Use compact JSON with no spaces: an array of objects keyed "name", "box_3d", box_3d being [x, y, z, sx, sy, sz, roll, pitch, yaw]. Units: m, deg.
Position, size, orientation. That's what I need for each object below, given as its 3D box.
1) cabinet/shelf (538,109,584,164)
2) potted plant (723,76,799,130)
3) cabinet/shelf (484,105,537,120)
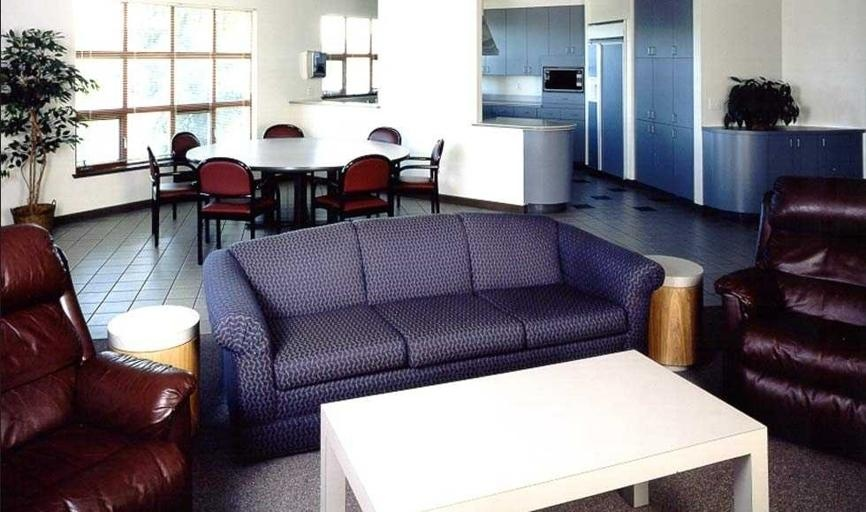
[{"name":"cabinet/shelf","box_3d":[2.842,-2.540,12.332,0.299,1.130,1.133,-11,19,-30]},{"name":"potted plant","box_3d":[4.246,-2.006,7.775,0.857,0.580,0.848,-6,14,-20]},{"name":"cabinet/shelf","box_3d":[1.748,-3.239,13.116,0.312,0.270,1.451,-15,22,-38]}]
